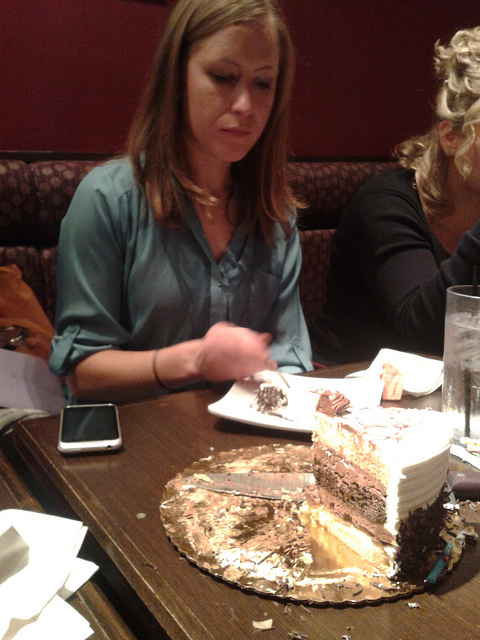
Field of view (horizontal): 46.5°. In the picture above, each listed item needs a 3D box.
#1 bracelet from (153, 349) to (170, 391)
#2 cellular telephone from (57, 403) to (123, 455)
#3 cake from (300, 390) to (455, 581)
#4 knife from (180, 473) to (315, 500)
[{"bbox_3d":[-0.167,0.102,1.131,0.029,0.076,0.040,-8,16,-32],"label":"bracelet"},{"bbox_3d":[-0.213,0.152,0.782,0.089,0.015,0.116,1,23,-17],"label":"cellular telephone"},{"bbox_3d":[0.164,0.153,0.611,0.140,0.135,0.188,0,9,-19],"label":"cake"},{"bbox_3d":[0.018,0.202,0.656,0.178,0.002,0.049,2,15,-3],"label":"knife"}]
